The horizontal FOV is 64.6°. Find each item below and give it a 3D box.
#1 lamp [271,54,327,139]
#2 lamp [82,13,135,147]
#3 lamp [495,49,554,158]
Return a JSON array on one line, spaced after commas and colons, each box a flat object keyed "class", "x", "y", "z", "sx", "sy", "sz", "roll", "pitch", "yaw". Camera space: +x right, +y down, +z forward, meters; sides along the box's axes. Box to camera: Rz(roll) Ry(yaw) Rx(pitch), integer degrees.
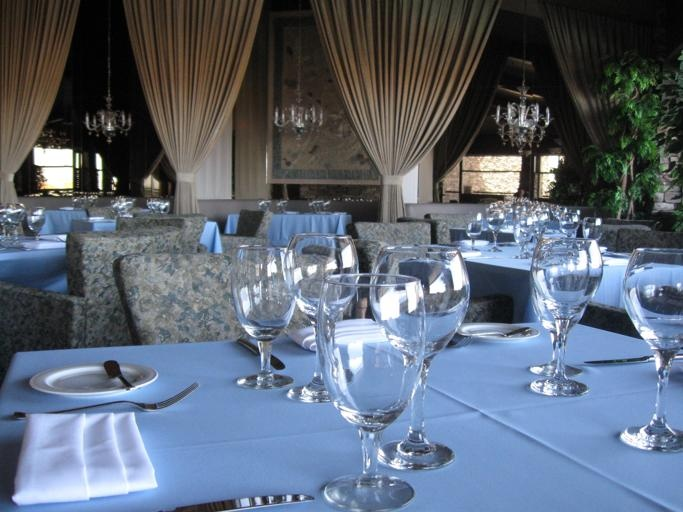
[{"class": "lamp", "x": -0.805, "y": -2.867, "z": 9.740, "sx": 0.780, "sy": 1.636, "sz": 0.851, "roll": 10, "pitch": 14, "yaw": 43}, {"class": "lamp", "x": -4.160, "y": -3.339, "z": 9.635, "sx": 0.885, "sy": 2.503, "sz": 2.417, "roll": -4, "pitch": 9, "yaw": -25}, {"class": "lamp", "x": 3.028, "y": -2.588, "z": 9.129, "sx": 0.735, "sy": 1.747, "sz": 0.883, "roll": 3, "pitch": 1, "yaw": -17}]
